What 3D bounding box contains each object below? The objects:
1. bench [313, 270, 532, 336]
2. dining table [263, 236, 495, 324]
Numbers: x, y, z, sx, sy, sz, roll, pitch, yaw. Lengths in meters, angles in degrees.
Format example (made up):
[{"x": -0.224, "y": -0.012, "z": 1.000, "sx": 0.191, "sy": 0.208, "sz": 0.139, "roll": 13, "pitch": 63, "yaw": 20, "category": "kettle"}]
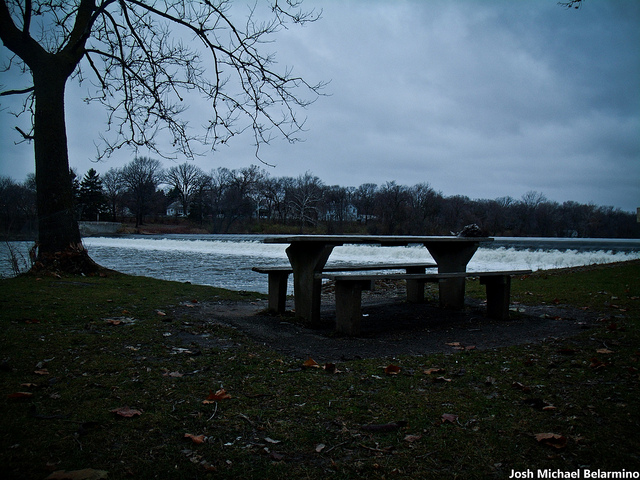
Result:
[{"x": 1.508, "y": 0.871, "z": 9.297, "sx": 3.241, "sy": 1.016, "sz": 1.065, "roll": -3, "pitch": 12, "yaw": -24, "category": "bench"}, {"x": 1.203, "y": 0.655, "z": 10.406, "sx": 4.194, "sy": 1.664, "sz": 2.961, "roll": 0, "pitch": -2, "yaw": 9, "category": "dining table"}]
